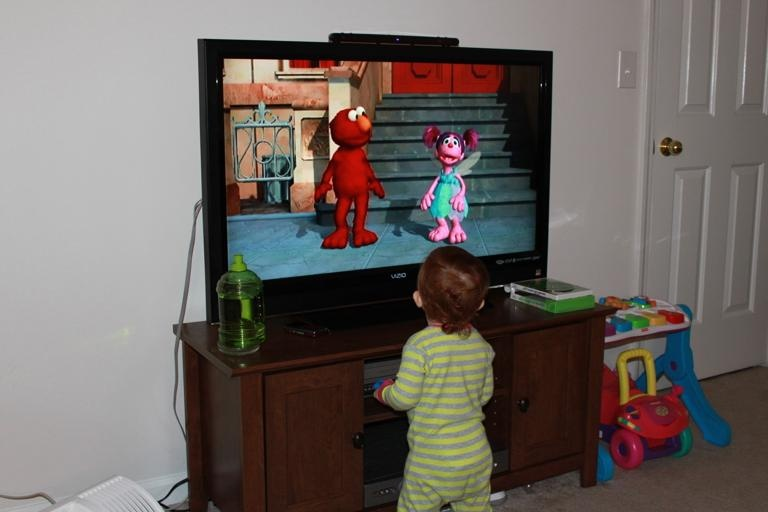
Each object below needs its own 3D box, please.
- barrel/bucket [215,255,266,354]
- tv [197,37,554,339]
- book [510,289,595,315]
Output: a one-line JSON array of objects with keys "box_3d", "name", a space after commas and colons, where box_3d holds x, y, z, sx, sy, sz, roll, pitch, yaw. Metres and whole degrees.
[{"box_3d": [-0.551, 0.193, 2.282, 0.181, 0.279, 0.270, -5, 11, -13], "name": "barrel/bucket"}, {"box_3d": [-0.096, -0.289, 2.468, 1.313, 0.887, 0.061, -6, 15, -22], "name": "tv"}, {"box_3d": [0.787, 0.204, 2.656, 0.153, 0.038, 0.163, -8, 14, -33], "name": "book"}]
